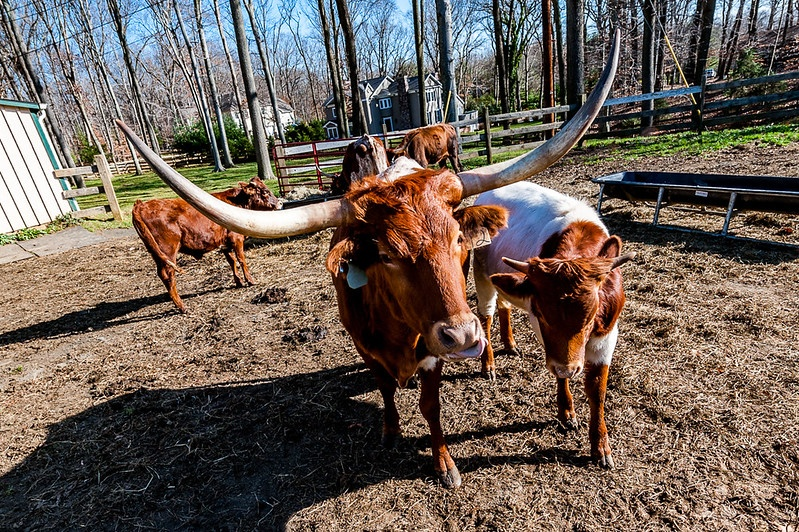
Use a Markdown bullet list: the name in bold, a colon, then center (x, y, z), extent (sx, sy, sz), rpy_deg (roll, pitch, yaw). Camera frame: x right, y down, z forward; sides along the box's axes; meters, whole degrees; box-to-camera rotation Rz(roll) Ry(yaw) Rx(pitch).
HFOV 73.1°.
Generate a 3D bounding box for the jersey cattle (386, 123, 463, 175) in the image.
- **jersey cattle**: center (0.661, -2.813, 13.831), extent (2.764, 1.513, 0.754), rpy_deg (-19, 24, -38)
